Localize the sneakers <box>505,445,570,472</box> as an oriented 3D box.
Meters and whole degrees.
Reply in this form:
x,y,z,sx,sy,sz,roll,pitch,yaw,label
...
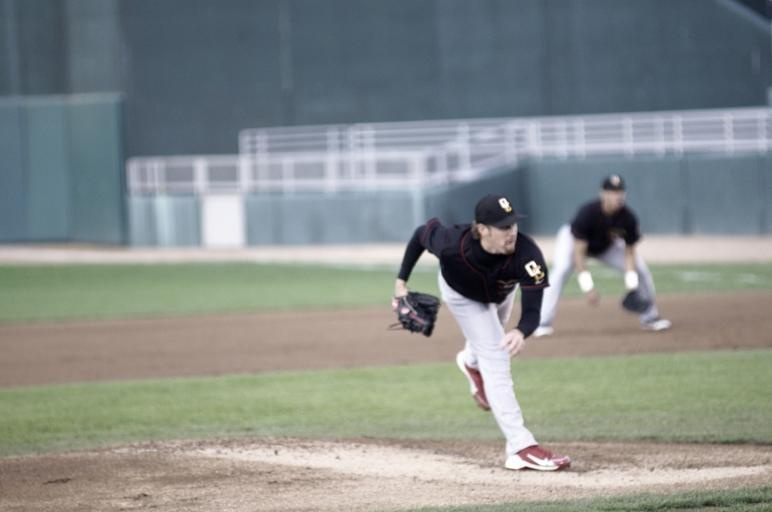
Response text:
x,y,z,sx,sy,sz,roll,pitch,yaw,label
1.541,2.052,17.820,0.656,0.263,0.248,-1,-4,6,sneakers

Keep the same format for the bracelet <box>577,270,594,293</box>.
x,y,z,sx,sy,sz,roll,pitch,yaw,label
2.298,0.299,20.333,0.169,0.162,0.247,-26,49,5,bracelet

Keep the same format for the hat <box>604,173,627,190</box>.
x,y,z,sx,sy,sz,roll,pitch,yaw,label
2.505,-0.813,19.413,0.189,0.109,0.238,1,-4,4,hat

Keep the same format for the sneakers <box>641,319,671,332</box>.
x,y,z,sx,sy,sz,roll,pitch,yaw,label
3.163,0.810,20.560,0.312,0.111,0.178,-4,15,6,sneakers

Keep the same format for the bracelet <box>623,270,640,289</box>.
x,y,z,sx,sy,sz,roll,pitch,yaw,label
2.715,0.262,19.711,0.207,0.195,0.192,-1,21,16,bracelet

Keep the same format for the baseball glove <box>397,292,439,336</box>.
x,y,z,sx,sy,sz,roll,pitch,yaw,label
0.322,0.568,18.232,0.365,0.473,0.222,-48,24,-3,baseball glove

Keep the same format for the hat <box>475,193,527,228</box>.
x,y,z,sx,sy,sz,roll,pitch,yaw,label
1.130,-0.451,17.472,0.447,0.223,0.301,2,12,34,hat

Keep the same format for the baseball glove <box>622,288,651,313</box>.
x,y,z,sx,sy,sz,roll,pitch,yaw,label
2.852,0.525,20.100,0.328,0.294,0.224,-3,31,3,baseball glove
